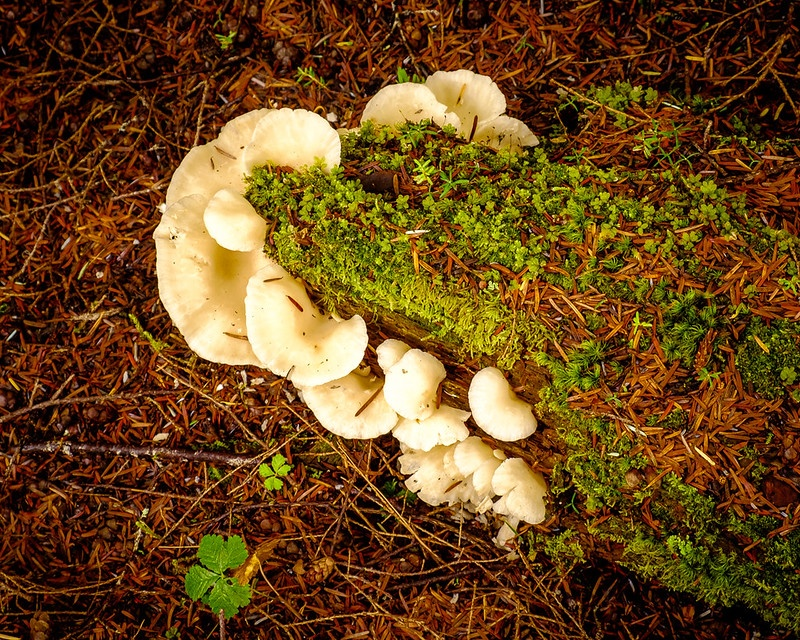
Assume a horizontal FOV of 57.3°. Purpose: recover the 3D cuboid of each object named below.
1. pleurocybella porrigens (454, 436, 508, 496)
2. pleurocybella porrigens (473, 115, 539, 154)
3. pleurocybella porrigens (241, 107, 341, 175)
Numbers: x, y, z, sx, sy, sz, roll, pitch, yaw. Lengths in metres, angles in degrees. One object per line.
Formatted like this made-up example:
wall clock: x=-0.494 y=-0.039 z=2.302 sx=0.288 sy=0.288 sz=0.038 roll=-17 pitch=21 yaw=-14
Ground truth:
pleurocybella porrigens: x=0.661 y=1.228 z=6.279 sx=0.422 sy=0.181 sz=0.487 roll=9 pitch=58 yaw=-22
pleurocybella porrigens: x=0.944 y=-1.635 z=6.471 sx=0.586 sy=0.315 sz=0.303 roll=12 pitch=85 yaw=3
pleurocybella porrigens: x=-0.888 y=-1.485 z=6.012 sx=0.780 sy=0.130 sz=0.517 roll=-2 pitch=84 yaw=1
